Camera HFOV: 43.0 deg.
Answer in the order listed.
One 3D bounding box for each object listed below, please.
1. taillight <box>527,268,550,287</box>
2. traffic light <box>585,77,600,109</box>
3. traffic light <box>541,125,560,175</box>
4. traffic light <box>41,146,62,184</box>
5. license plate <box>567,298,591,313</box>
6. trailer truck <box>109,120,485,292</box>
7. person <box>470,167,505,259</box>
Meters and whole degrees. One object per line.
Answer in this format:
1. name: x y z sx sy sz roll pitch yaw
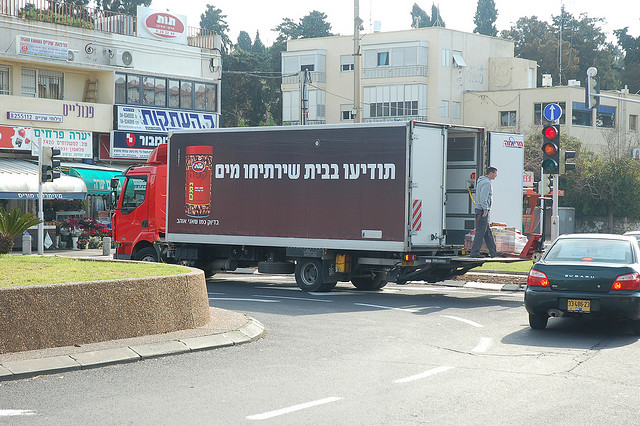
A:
1. taillight: 4.592 1.357 17.055 0.207 0.348 0.518 -2 7 -27
2. traffic light: 10.881 -4.834 32.298 0.509 1.243 2.103 3 6 18
3. traffic light: 6.926 -1.891 24.190 0.533 1.458 0.681 3 7 15
4. traffic light: -9.739 -1.752 29.268 0.642 1.289 0.998 -1 7 -19
5. license plate: 5.318 1.803 16.646 0.452 0.286 0.257 2 3 35
6. trailer truck: -0.708 -0.201 22.374 11.794 4.649 3.618 0 -1 27
7. person: 4.365 -0.012 21.499 0.664 2.389 1.020 5 8 33
